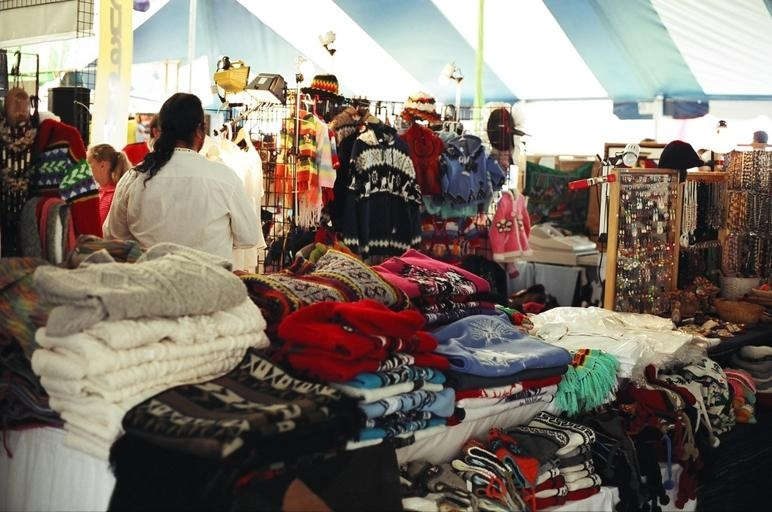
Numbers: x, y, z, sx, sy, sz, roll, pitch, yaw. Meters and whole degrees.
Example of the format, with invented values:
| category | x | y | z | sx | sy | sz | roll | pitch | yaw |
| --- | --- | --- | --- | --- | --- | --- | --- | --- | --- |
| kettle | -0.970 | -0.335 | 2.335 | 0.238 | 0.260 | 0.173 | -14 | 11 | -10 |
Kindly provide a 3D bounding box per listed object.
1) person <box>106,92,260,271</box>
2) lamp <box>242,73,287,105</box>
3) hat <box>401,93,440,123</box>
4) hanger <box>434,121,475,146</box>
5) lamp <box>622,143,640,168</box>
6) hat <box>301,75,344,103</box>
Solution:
| category | x | y | z | sx | sy | sz | roll | pitch | yaw |
| --- | --- | --- | --- | --- | --- | --- | --- | --- | --- |
| person | -1.186 | -0.340 | 3.511 | 0.865 | 1.061 | 0.616 | -5 | 26 | -20 |
| lamp | -0.874 | -1.265 | 4.497 | 0.211 | 0.114 | 0.293 | 2 | -4 | 8 |
| hat | 0.278 | -1.182 | 4.833 | 0.248 | 0.133 | 0.251 | 1 | 21 | -11 |
| hanger | 0.552 | -1.021 | 4.997 | 0.293 | 0.261 | 0.564 | 2 | 2 | 4 |
| lamp | 2.059 | -0.843 | 5.080 | 0.156 | 0.108 | 0.282 | 12 | 28 | 10 |
| hat | -0.493 | -1.301 | 4.670 | 0.398 | 0.221 | 0.172 | 0 | 2 | -31 |
